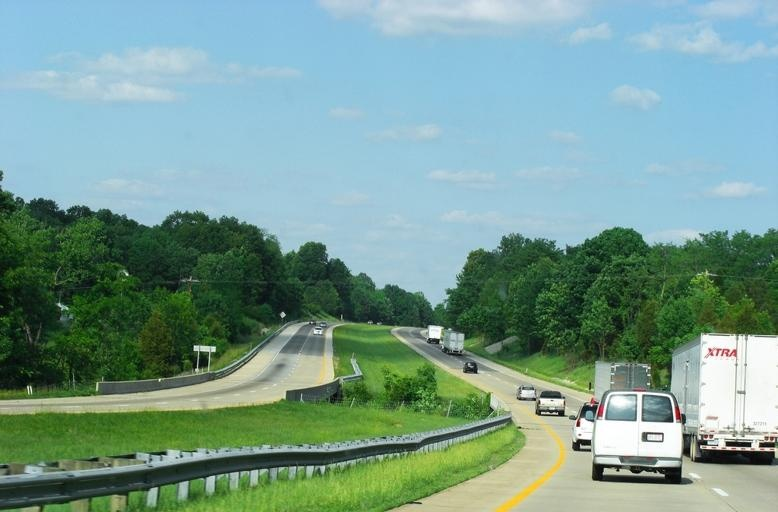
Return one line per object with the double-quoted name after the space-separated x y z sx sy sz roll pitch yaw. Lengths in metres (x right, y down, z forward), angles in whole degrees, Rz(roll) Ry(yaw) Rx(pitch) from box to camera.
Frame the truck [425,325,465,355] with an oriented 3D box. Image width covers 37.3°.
9.498 12.596 170.865 2.430 2.763 9.469 5 1 -10 "truck"
